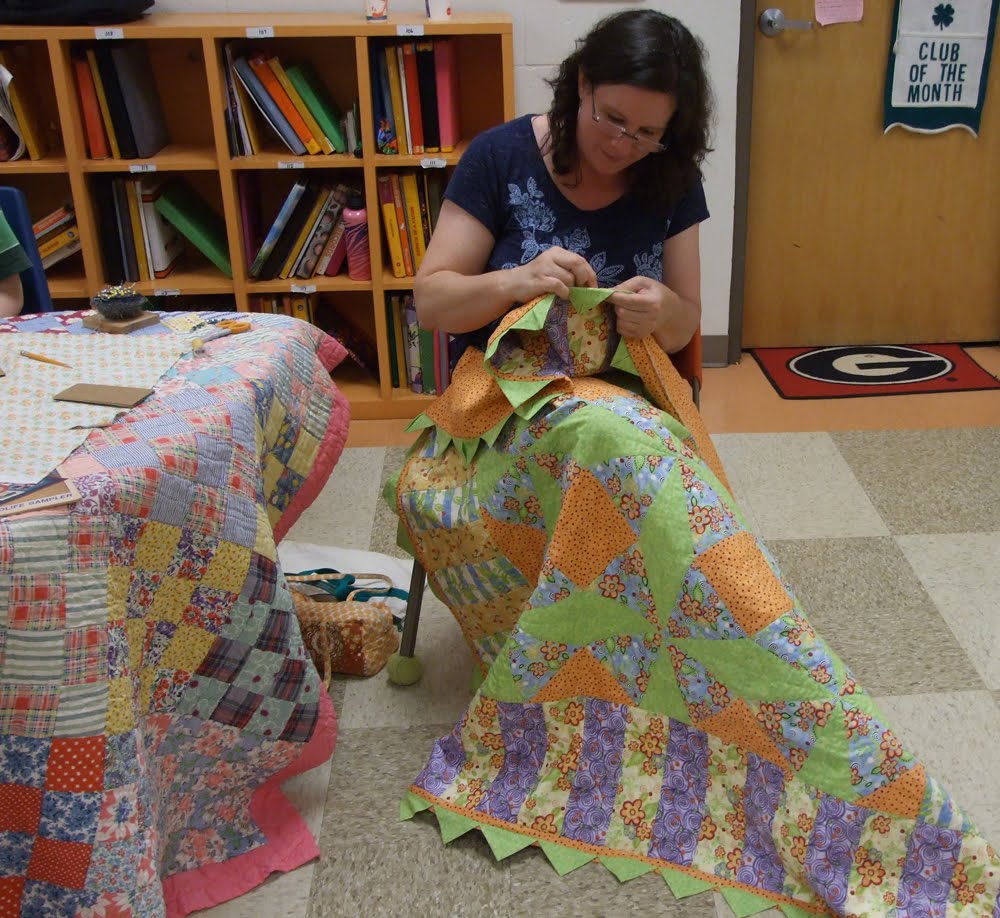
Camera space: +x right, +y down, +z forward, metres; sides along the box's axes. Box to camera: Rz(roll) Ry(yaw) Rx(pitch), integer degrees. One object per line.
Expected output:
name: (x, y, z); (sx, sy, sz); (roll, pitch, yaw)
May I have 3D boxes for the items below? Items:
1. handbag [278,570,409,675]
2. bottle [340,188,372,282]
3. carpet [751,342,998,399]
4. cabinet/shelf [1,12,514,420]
handbag: (-0.349, 0.342, 2.027); (0.197, 0.093, 0.248); (-6, 20, -26)
bottle: (-0.443, -0.711, 2.919); (0.107, 0.267, 0.207); (-2, 30, -4)
carpet: (1.326, -0.317, 3.341); (0.776, 0.047, 0.442); (-1, 27, -2)
cabinet/shelf: (-0.628, -0.707, 2.413); (1.430, 0.943, 0.394); (0, 23, -1)
